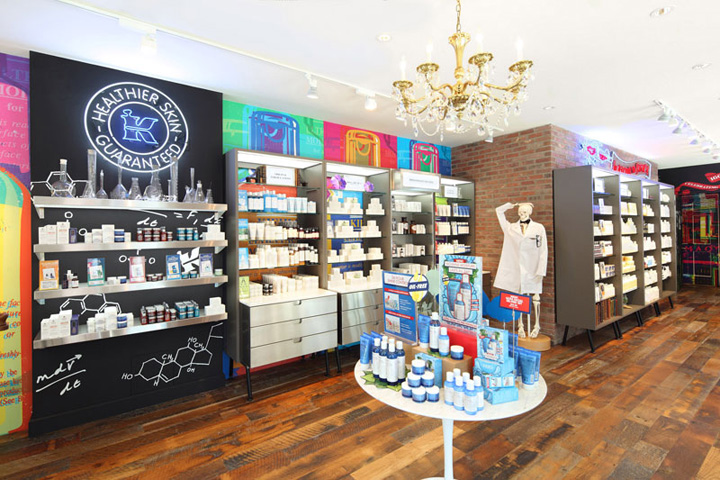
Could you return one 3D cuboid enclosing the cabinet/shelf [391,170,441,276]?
[{"bbox_3d":[0.910,-0.338,8.220,1.040,1.797,0.592,-8,5,-36],"label":"cabinet/shelf"}]

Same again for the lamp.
[{"bbox_3d":[1.292,-1.793,5.807,1.600,2.213,1.758,4,6,30],"label":"lamp"}]

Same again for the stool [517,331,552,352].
[{"bbox_3d":[2.926,1.688,7.611,0.664,0.235,0.394,-6,4,-19],"label":"stool"}]
